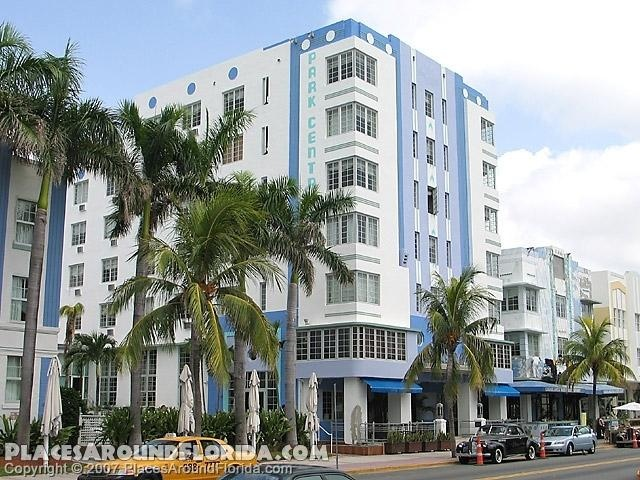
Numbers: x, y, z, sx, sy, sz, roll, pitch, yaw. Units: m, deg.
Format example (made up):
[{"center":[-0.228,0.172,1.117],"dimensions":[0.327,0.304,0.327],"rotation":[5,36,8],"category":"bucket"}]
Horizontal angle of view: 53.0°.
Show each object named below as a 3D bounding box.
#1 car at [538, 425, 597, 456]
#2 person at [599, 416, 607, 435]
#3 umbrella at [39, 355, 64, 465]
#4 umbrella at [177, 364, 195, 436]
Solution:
[{"center":[14.516,11.559,37.368],"dimensions":[4.399,1.727,1.668],"rotation":[15,-25,-37],"category":"car"},{"center":[22.541,14.893,51.130],"dimensions":[0.537,1.435,1.455],"rotation":[-9,-21,22],"category":"person"},{"center":[-9.966,6.289,23.995],"dimensions":[0.669,4.187,2.088],"rotation":[6,-20,-22],"category":"umbrella"},{"center":[-5.302,6.355,25.844],"dimensions":[0.640,2.821,1.826],"rotation":[2,-19,-11],"category":"umbrella"}]
